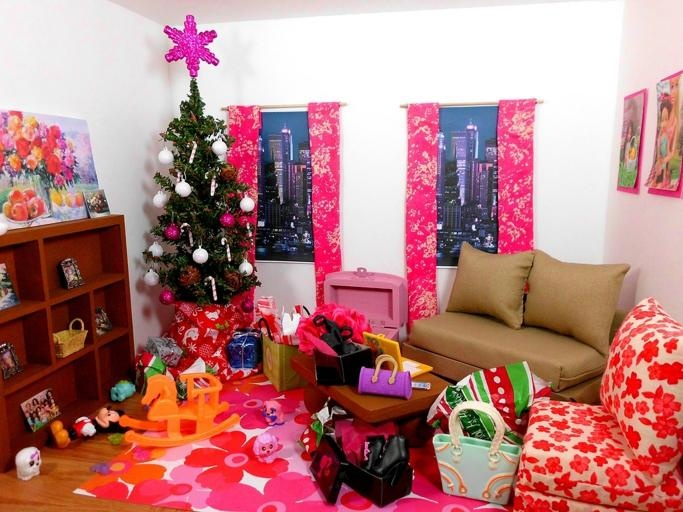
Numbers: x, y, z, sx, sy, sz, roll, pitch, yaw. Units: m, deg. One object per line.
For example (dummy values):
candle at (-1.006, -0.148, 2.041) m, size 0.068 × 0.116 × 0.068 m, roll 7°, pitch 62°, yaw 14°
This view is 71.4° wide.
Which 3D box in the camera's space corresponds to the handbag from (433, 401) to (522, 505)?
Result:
handbag at (0.723, 1.036, 2.477) m, size 0.498 × 0.601 × 0.194 m, roll 3°, pitch 9°, yaw 21°

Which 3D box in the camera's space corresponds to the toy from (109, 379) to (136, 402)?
toy at (-1.573, 0.964, 3.453) m, size 0.117 × 0.073 × 0.156 m, roll 9°, pitch 10°, yaw 6°

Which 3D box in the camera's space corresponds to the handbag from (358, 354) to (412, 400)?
handbag at (0.252, 0.710, 2.834) m, size 0.321 × 0.283 × 0.187 m, roll 4°, pitch -3°, yaw 8°

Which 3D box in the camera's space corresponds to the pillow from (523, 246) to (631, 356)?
pillow at (1.576, 0.326, 3.205) m, size 0.652 × 0.533 × 0.271 m, roll 9°, pitch 4°, yaw 43°

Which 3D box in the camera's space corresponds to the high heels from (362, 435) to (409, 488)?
high heels at (0.233, 1.068, 2.511) m, size 0.230 × 0.199 × 0.144 m, roll 0°, pitch 12°, yaw 2°

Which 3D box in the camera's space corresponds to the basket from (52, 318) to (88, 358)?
basket at (-1.830, 0.556, 3.215) m, size 0.167 × 0.179 × 0.274 m, roll 4°, pitch 4°, yaw 13°

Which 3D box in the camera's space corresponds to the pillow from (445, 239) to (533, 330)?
pillow at (1.131, 0.221, 3.570) m, size 0.628 × 0.523 × 0.263 m, roll 6°, pitch 5°, yaw 43°

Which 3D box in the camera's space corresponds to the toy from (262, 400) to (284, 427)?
toy at (-0.437, 1.031, 3.118) m, size 0.117 × 0.159 × 0.154 m, roll -1°, pitch -7°, yaw 11°

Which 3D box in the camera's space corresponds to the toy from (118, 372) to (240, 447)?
toy at (-1.040, 0.949, 3.140) m, size 0.775 × 0.462 × 0.376 m, roll 0°, pitch 0°, yaw -24°

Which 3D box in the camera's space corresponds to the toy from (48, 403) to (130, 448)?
toy at (-1.627, 1.082, 3.031) m, size 0.383 × 0.155 × 0.222 m, roll -6°, pitch 12°, yaw -39°
